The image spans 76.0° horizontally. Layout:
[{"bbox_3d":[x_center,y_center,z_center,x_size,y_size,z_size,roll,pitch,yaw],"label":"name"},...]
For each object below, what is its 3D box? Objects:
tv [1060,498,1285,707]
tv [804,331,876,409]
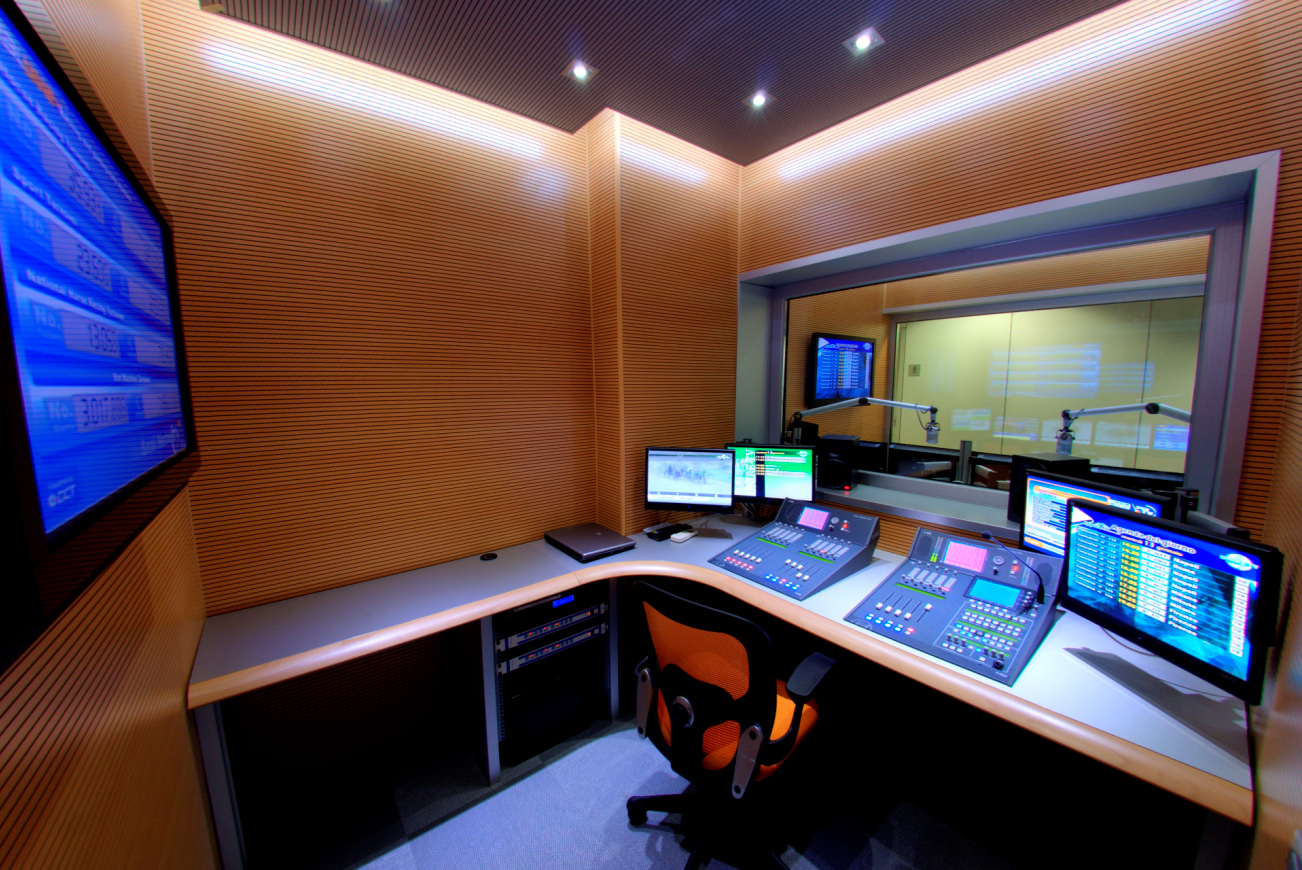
[{"bbox_3d":[2.036,0.665,3.236,0.105,0.521,0.763,-4,13,-33],"label":"tv"},{"bbox_3d":[1.266,-0.415,5.474,0.101,0.473,0.902,10,9,39],"label":"tv"}]
